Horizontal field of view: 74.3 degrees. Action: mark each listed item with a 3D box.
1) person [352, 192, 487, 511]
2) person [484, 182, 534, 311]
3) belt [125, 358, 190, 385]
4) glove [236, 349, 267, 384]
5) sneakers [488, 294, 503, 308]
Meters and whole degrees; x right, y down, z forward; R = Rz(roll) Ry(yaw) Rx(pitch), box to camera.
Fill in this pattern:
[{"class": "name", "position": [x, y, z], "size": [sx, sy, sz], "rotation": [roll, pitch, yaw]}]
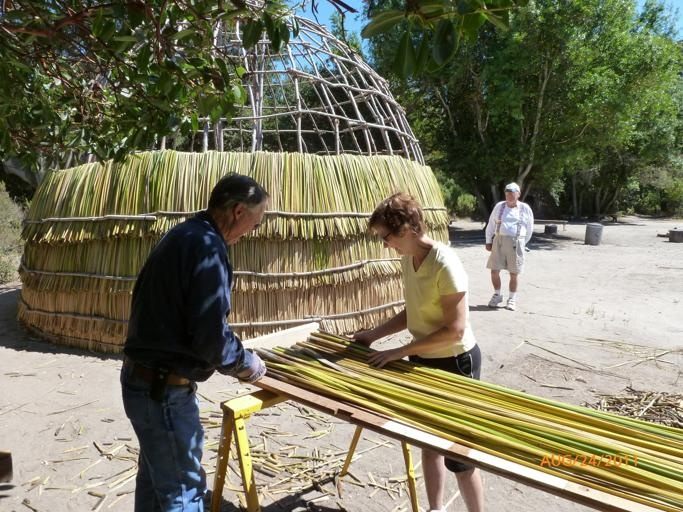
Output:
[{"class": "person", "position": [0.464, 0.641, 2.653], "size": [0.840, 1.991, 0.663], "rotation": [6, 6, 21]}, {"class": "person", "position": [2.830, -0.215, 7.697], "size": [0.707, 2.120, 1.234], "rotation": [6, 6, 22]}, {"class": "belt", "position": [-0.902, 0.578, 2.199], "size": [0.303, 0.116, 0.099], "rotation": [3, 6, -5]}, {"class": "glove", "position": [-0.497, 0.602, 2.476], "size": [0.090, 0.112, 0.259], "rotation": [3, 9, 3]}, {"class": "sneakers", "position": [2.572, 0.757, 7.540], "size": [0.129, 0.163, 0.384], "rotation": [2, 4, 39]}]
